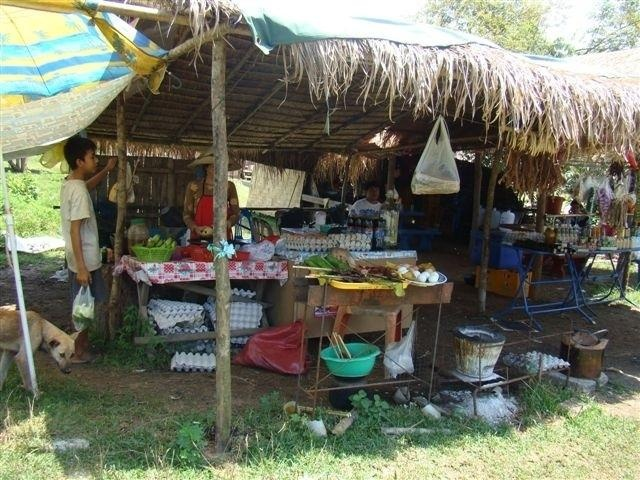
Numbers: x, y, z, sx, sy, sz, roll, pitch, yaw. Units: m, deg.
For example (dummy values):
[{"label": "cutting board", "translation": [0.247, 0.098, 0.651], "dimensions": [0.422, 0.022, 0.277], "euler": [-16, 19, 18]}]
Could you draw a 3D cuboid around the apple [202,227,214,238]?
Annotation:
[{"label": "apple", "translation": [-1.322, -0.083, 6.192], "dimensions": [0.139, 0.101, 0.146], "euler": [14, 16, 38]}]

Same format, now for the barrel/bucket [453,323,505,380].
[{"label": "barrel/bucket", "translation": [1.640, 1.143, 5.498], "dimensions": [0.514, 0.376, 0.505], "euler": [2, 4, 0]}]

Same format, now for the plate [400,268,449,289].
[{"label": "plate", "translation": [1.061, 0.380, 5.154], "dimensions": [0.543, 0.164, 0.169], "euler": [-1, 8, -32]}]

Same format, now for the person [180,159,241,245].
[{"label": "person", "translation": [-1.319, -0.484, 6.368], "dimensions": [0.682, 1.073, 1.655], "euler": [1, 7, -15]}]

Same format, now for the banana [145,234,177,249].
[{"label": "banana", "translation": [-1.775, 0.032, 5.951], "dimensions": [0.195, 0.088, 0.275], "euler": [4, 5, 4]}]

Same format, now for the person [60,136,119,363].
[{"label": "person", "translation": [-2.598, 0.121, 5.827], "dimensions": [0.536, 2.527, 1.009], "euler": [0, 7, -23]}]

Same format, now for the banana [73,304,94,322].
[{"label": "banana", "translation": [-2.532, 0.777, 5.579], "dimensions": [0.162, 0.111, 0.191], "euler": [2, -6, -20]}]

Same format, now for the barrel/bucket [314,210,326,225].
[{"label": "barrel/bucket", "translation": [0.015, -0.315, 7.596], "dimensions": [0.184, 0.192, 0.180], "euler": [0, -3, 0]}]

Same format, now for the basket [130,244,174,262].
[{"label": "basket", "translation": [-1.867, 0.163, 5.844], "dimensions": [0.430, 0.186, 0.207], "euler": [1, 7, -13]}]

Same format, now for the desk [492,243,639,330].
[{"label": "desk", "translation": [4.003, 0.604, 8.453], "dimensions": [1.699, 1.231, 4.248], "euler": [7, 8, 31]}]

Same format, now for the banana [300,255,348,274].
[{"label": "banana", "translation": [0.071, 0.234, 5.129], "dimensions": [0.288, 0.086, 0.210], "euler": [-7, 21, -17]}]

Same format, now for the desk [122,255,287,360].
[{"label": "desk", "translation": [-1.429, 0.747, 6.562], "dimensions": [2.028, 0.857, 1.544], "euler": [1, -10, -12]}]

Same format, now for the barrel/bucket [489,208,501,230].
[{"label": "barrel/bucket", "translation": [4.667, -0.592, 13.837], "dimensions": [0.203, 0.435, 1.511], "euler": [5, 7, 18]}]
